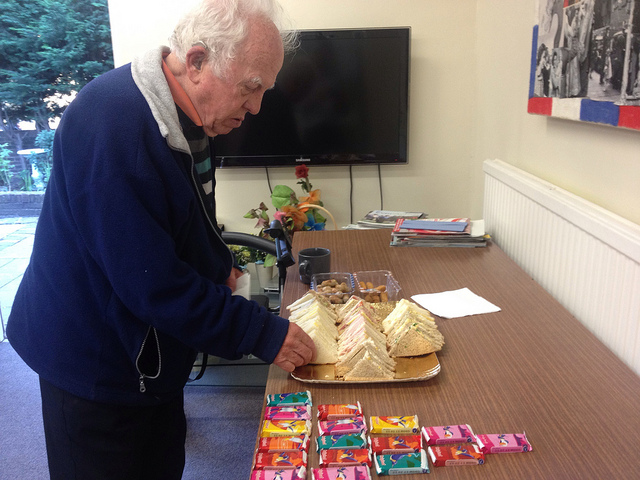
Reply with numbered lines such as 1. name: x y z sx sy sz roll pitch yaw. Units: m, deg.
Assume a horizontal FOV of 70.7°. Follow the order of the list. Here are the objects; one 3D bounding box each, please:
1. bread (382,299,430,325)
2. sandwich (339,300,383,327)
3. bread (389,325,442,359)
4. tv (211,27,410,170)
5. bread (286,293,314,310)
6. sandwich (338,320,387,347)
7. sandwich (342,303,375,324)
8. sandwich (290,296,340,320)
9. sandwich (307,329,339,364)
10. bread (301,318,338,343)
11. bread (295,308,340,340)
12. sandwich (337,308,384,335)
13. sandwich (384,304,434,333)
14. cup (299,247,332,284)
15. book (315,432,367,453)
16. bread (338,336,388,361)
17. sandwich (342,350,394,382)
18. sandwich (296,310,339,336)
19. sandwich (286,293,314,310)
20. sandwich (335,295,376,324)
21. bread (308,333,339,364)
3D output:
1. bread: 0.269 0.239 1.375 0.092 0.023 0.090 -36 -6 -47
2. sandwich: 0.125 0.224 1.381 0.020 0.071 0.084 11 -53 -50
3. bread: 0.257 0.293 1.240 0.098 0.036 0.098 -4 17 -7
4. tv: 0.039 -0.814 2.559 1.178 0.783 0.048 0 9 0
5. bread: -0.065 0.194 1.422 0.060 0.020 0.056 -30 0 -31
6. sandwich: 0.119 0.267 1.281 0.093 0.029 0.072 -36 51 5
7. sandwich: 0.113 0.225 1.360 0.058 0.018 0.058 -34 20 -16
8. sandwich: -0.014 0.220 1.399 0.109 0.075 0.051 -30 -17 -24
9. sandwich: 0.009 0.312 1.256 0.029 0.086 0.084 -34 3 25
10. bread: -0.002 0.260 1.294 0.020 0.074 0.073 -45 8 -9
11. bread: 0.000 0.244 1.339 0.094 0.026 0.095 39 16 17
12. sandwich: 0.119 0.243 1.346 0.084 0.044 0.087 -2 8 2
13. sandwich: 0.257 0.239 1.353 0.094 0.025 0.098 -35 26 -5
14. cup: -0.030 0.116 1.749 0.113 0.129 0.187 3 18 22
15. book: 0.049 0.447 0.994 0.066 0.015 0.045 -1 21 -1
16. bread: 0.115 0.301 1.231 0.081 0.023 0.080 -36 25 -27
17. sandwich: 0.140 0.316 1.247 0.138 0.067 0.184 0 15 10
18. sandwich: -0.012 0.244 1.307 0.084 0.088 0.023 -34 3 -3
19. sandwich: -0.064 0.193 1.426 0.057 0.019 0.054 -31 -2 -23
20. sandwich: 0.111 0.228 1.441 0.087 0.024 0.085 -51 24 1
21. bread: 0.013 0.307 1.203 0.074 0.083 0.022 -3 5 1
